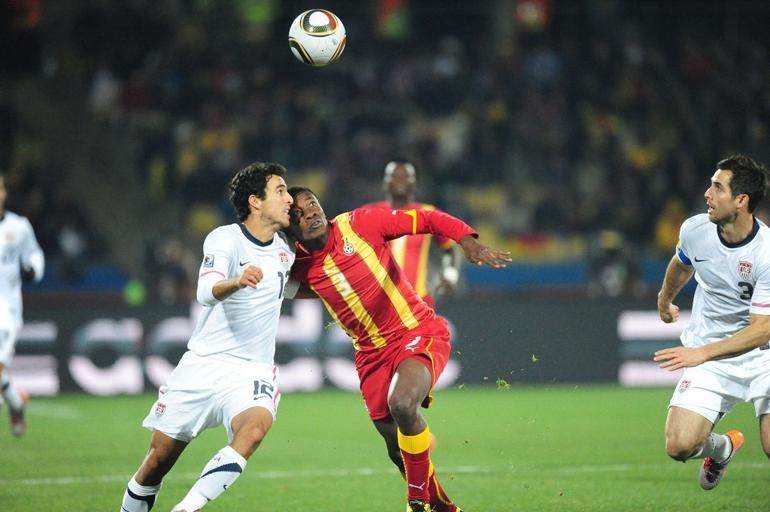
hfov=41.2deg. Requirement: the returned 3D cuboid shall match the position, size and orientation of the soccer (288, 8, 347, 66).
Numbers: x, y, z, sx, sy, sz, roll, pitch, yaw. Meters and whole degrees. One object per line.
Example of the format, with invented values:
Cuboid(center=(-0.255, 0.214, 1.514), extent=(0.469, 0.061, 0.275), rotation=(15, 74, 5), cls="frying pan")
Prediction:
Cuboid(center=(-0.796, -2.613, 12.126), extent=(0.630, 0.691, 0.645), rotation=(-1, 0, -8), cls="soccer")
